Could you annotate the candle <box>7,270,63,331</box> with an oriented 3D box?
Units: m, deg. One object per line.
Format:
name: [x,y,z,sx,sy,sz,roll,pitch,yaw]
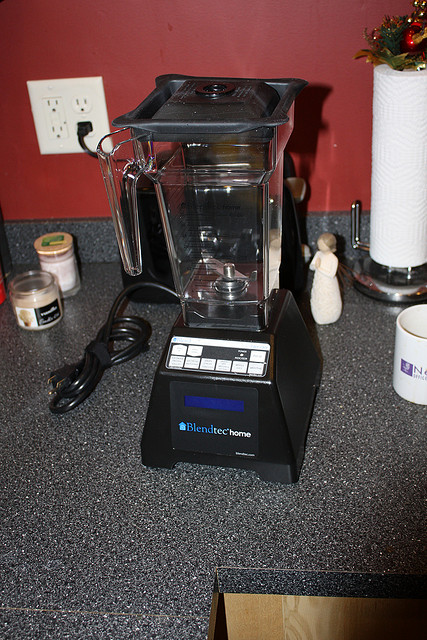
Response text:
candle: [-0.302,-0.033,0.853,0.079,0.078,0.083,-16,32,-13]

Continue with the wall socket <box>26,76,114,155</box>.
wall socket: [-0.252,-0.359,0.882,0.121,0.120,0.014,-6,24,-7]
